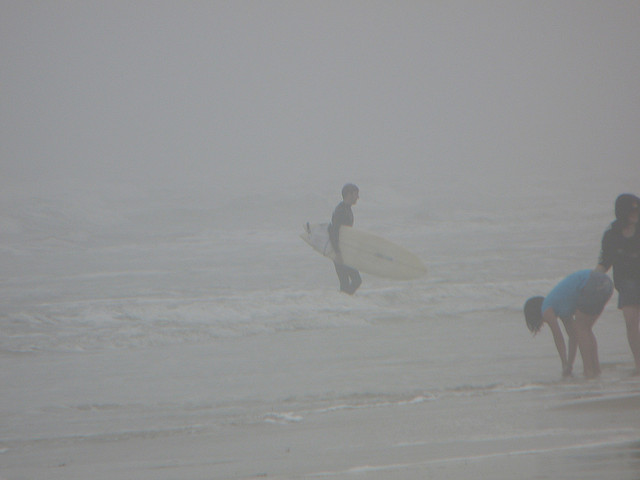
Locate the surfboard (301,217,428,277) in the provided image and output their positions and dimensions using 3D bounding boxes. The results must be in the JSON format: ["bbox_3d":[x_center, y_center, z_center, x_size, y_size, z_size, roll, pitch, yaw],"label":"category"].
[{"bbox_3d":[0.339,0.084,9.080,1.169,0.336,0.137,18,-5,-1],"label":"surfboard"}]

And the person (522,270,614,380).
[{"bbox_3d":[1.900,0.662,9.077,0.706,0.745,0.356,-11,21,-1],"label":"person"}]
